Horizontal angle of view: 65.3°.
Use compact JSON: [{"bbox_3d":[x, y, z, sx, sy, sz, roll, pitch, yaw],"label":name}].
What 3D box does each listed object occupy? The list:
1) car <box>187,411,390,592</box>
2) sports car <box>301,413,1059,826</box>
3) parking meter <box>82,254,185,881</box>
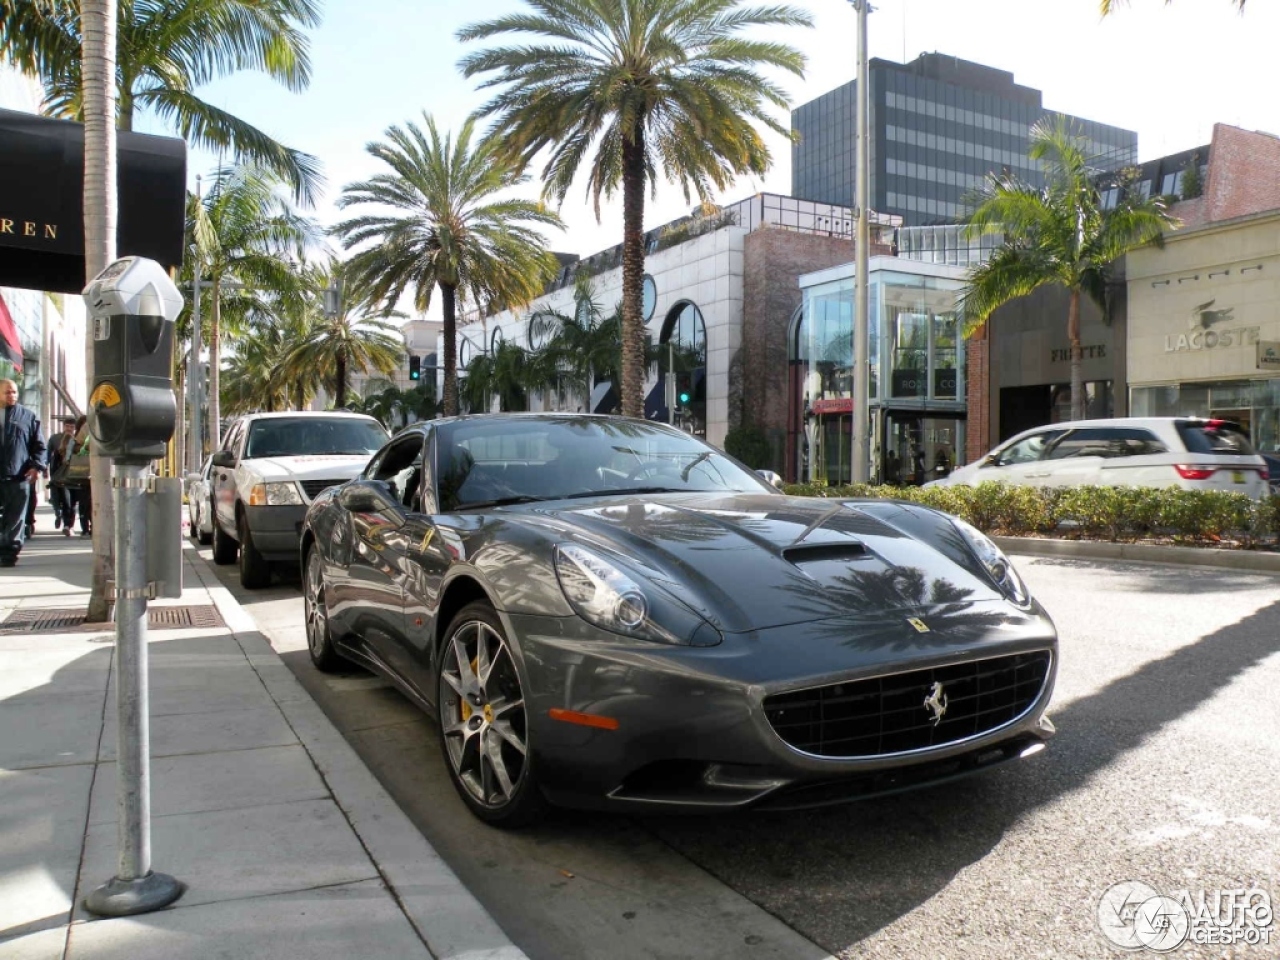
[{"bbox_3d":[-3.545,0.215,10.079,2.012,2.071,3.149,2,3,-29],"label":"car"},{"bbox_3d":[-0.407,0.580,6.652,2.950,2.084,6.118,0,-1,-33],"label":"sports car"},{"bbox_3d":[-1.941,0.372,3.890,0.436,2.373,0.352,-6,-7,35],"label":"parking meter"}]
